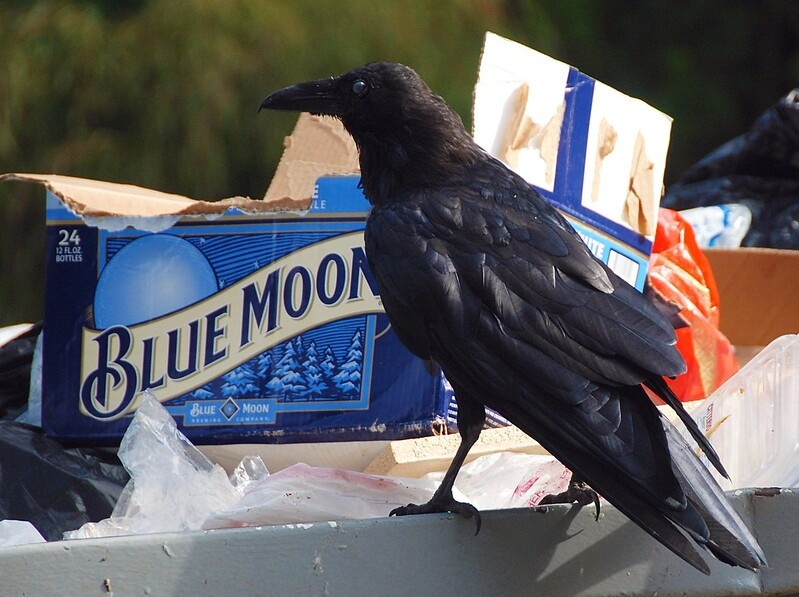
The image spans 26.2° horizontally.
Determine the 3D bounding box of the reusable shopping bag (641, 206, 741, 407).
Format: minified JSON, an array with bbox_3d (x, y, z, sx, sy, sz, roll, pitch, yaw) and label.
[{"bbox_3d":[0.935,0.036,5.887,0.201,0.401,0.617,-12,35,15],"label":"reusable shopping bag"}]
